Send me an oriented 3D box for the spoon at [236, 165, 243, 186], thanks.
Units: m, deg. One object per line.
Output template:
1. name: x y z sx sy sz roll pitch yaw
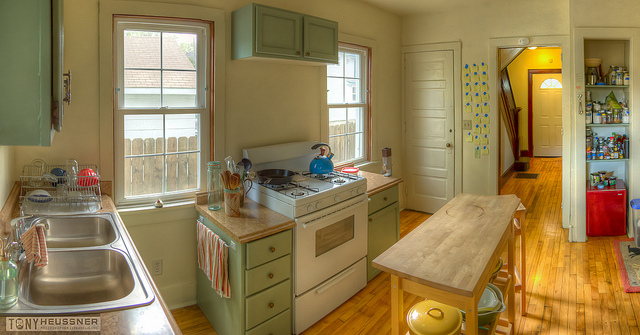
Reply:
1. spoon: -0.908 0.094 4.570 0.082 0.245 0.037 9 11 24

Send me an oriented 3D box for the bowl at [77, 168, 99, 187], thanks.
1. bowl: -2.449 0.105 4.254 0.183 0.173 0.190 -5 -3 0

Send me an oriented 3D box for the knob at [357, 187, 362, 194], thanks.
1. knob: 0.483 0.279 4.904 0.026 0.074 0.081 5 7 42

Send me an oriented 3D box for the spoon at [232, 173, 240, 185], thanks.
1. spoon: -0.914 0.130 4.451 0.066 0.122 0.036 -7 9 -12

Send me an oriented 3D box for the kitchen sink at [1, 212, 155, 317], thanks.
1. kitchen sink: -2.093 0.883 3.520 0.847 0.277 1.257 -3 15 -32

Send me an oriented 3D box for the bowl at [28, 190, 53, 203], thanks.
1. bowl: -2.813 0.292 4.057 0.177 0.145 0.043 5 -5 -8

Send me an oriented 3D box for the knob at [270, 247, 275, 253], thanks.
1. knob: -0.504 0.887 4.286 0.057 0.051 0.017 8 8 -14
